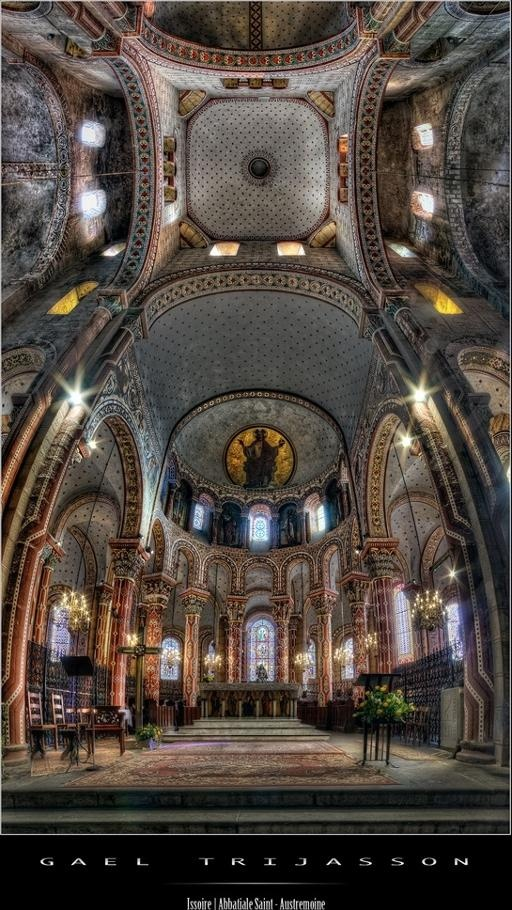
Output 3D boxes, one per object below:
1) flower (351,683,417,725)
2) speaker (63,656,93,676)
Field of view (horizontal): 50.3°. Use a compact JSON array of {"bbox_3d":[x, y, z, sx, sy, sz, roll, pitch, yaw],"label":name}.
[{"bbox_3d":[1.898,3.732,8.341,0.932,0.705,1.008,1,-15,-2],"label":"flower"},{"bbox_3d":[-2.561,3.009,7.728,0.441,0.229,0.275,-7,-28,10],"label":"speaker"}]
